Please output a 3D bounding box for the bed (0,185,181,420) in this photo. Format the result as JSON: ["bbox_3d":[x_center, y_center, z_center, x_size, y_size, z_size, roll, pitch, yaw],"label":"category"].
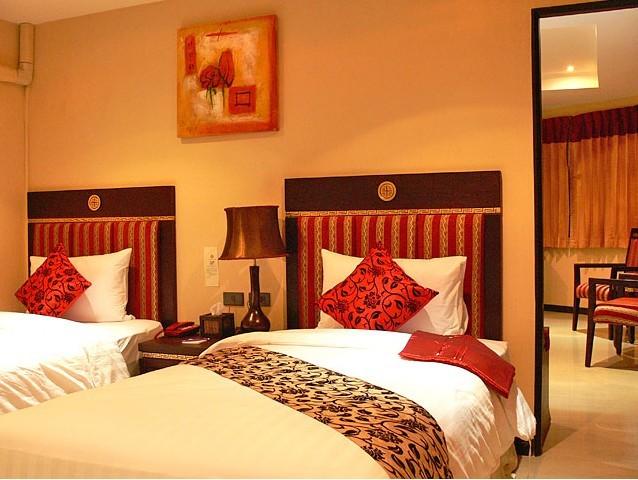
[{"bbox_3d":[-1.751,0.495,3.853,1.178,1.011,1.485,2,27,4],"label":"bed"}]

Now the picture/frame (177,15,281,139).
[{"bbox_3d":[-0.672,-1.282,3.961,0.927,0.989,0.096,0,2,22],"label":"picture/frame"}]

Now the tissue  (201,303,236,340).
[{"bbox_3d":[-0.733,0.575,3.776,0.234,0.346,0.239,1,3,32],"label":"tissue "}]

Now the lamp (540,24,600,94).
[{"bbox_3d":[2.769,-1.943,5.602,0.619,0.384,1.984,3,7,28],"label":"lamp"}]

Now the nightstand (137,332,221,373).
[{"bbox_3d":[-1.051,0.795,3.543,0.320,0.265,0.322,1,3,20],"label":"nightstand"}]
